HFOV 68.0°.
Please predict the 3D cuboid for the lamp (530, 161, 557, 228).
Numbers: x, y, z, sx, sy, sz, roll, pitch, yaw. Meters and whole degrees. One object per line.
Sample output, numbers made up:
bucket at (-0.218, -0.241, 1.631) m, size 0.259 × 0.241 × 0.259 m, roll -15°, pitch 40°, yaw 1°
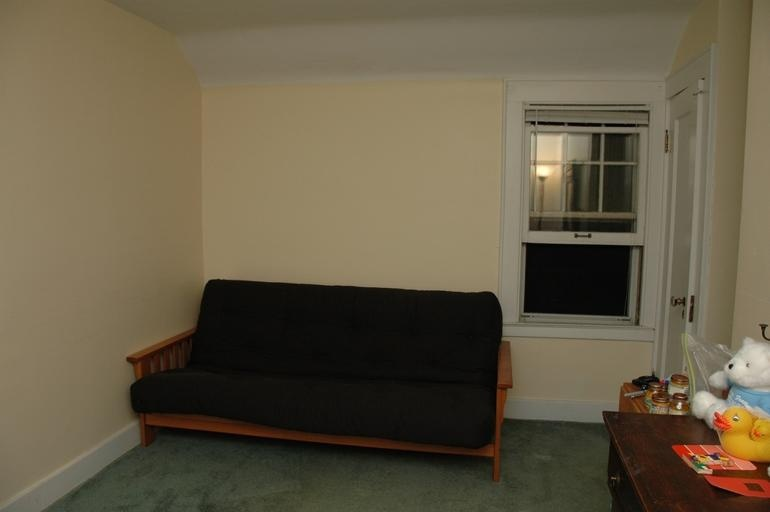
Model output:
lamp at (1.237, -0.466, 4.475) m, size 0.166 × 0.511 × 0.049 m, roll 2°, pitch 6°, yaw 17°
